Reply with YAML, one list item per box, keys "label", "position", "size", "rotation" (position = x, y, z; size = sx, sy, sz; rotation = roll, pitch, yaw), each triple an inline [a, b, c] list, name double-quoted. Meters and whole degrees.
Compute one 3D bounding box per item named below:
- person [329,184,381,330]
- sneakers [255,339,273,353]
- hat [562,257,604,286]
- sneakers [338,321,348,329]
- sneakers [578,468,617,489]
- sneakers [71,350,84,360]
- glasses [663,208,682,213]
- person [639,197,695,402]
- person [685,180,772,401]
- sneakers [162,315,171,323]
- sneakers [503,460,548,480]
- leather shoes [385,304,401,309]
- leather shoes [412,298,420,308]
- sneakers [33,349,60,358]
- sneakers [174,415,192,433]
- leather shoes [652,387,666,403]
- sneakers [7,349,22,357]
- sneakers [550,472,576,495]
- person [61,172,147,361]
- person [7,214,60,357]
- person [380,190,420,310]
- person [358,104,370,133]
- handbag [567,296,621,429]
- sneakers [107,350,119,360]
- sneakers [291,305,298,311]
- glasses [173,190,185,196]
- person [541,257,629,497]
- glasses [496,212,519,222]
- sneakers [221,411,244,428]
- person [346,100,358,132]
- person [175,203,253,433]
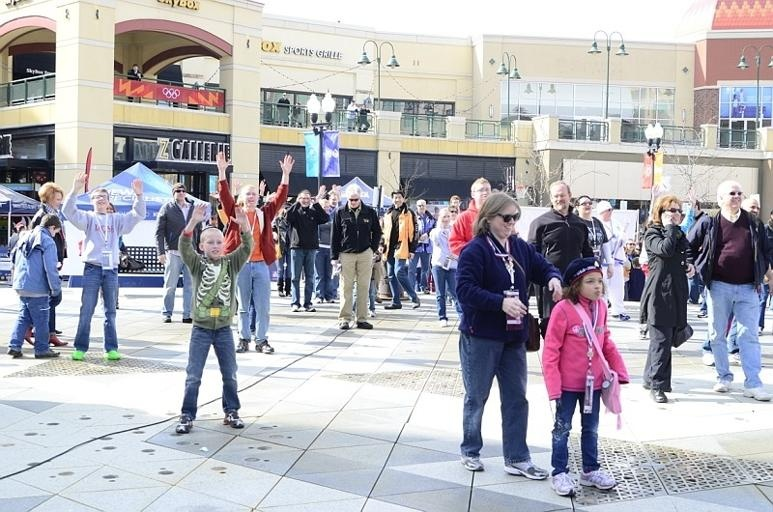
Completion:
- label: "person"
  position: [-0.600, 0.047, 14.029]
  size: [0.904, 2.647, 0.590]
  rotation: [0, 7, -8]
- label: "sneakers"
  position: [-1.930, 1.444, 11.881]
  size: [0.322, 0.157, 0.137]
  rotation: [-3, -3, 44]
- label: "hat"
  position: [1.902, 0.172, 7.588]
  size: [0.302, 0.141, 0.322]
  rotation: [-6, -16, -26]
- label: "sneakers"
  position: [-0.821, 1.282, 13.914]
  size: [0.113, 0.099, 0.245]
  rotation: [0, -6, -8]
- label: "sneakers"
  position: [2.059, 2.211, 7.361]
  size: [0.323, 0.152, 0.162]
  rotation: [1, 6, 13]
- label: "sneakers"
  position: [-4.611, 1.494, 11.182]
  size: [0.094, 0.119, 0.267]
  rotation: [-6, -24, -7]
- label: "glasses"
  position: [3.765, -0.604, 9.860]
  size: [0.240, 0.062, 0.114]
  rotation: [-2, 8, -20]
- label: "person"
  position: [3.656, 0.531, 9.822]
  size: [0.608, 2.612, 0.869]
  rotation: [3, 7, 16]
- label: "person"
  position: [4.575, 0.418, 10.036]
  size: [1.034, 2.795, 0.784]
  rotation: [4, 7, 23]
- label: "sneakers"
  position: [-4.294, 1.226, 14.576]
  size: [0.102, 0.112, 0.253]
  rotation: [2, -8, -19]
- label: "sneakers"
  position: [1.392, 2.137, 7.614]
  size: [0.440, 0.200, 0.167]
  rotation: [4, 7, 14]
- label: "leather shoes"
  position: [0.111, 1.164, 17.025]
  size: [0.385, 0.161, 0.139]
  rotation: [4, -1, -4]
- label: "leather shoes"
  position: [0.658, 1.106, 17.421]
  size: [0.129, 0.322, 0.096]
  rotation: [0, -7, -25]
- label: "sneakers"
  position: [-5.176, 1.473, 11.395]
  size: [0.335, 0.145, 0.120]
  rotation: [-1, 8, -22]
- label: "sneakers"
  position: [-2.276, 1.894, 8.451]
  size: [0.227, 0.174, 0.219]
  rotation: [-3, 8, -31]
- label: "leather shoes"
  position: [3.473, 1.799, 9.620]
  size: [0.207, 0.146, 0.125]
  rotation: [4, 7, 19]
- label: "sneakers"
  position: [-5.639, 1.479, 11.391]
  size: [0.196, 0.124, 0.256]
  rotation: [-3, 9, -28]
- label: "sneakers"
  position: [1.705, 2.222, 7.275]
  size: [0.234, 0.193, 0.169]
  rotation: [3, 7, 14]
- label: "person"
  position: [-4.274, 0.172, 11.343]
  size: [1.084, 2.756, 0.933]
  rotation: [-3, 7, -28]
- label: "person"
  position: [-5.431, 0.448, 11.513]
  size: [0.755, 2.142, 0.888]
  rotation: [-2, 7, -23]
- label: "person"
  position: [0.249, -0.127, 17.037]
  size: [0.817, 2.687, 0.896]
  rotation: [3, 7, 20]
- label: "person"
  position: [-1.167, -6.716, 36.993]
  size: [0.376, 1.235, 0.909]
  rotation: [6, 8, 38]
- label: "handbag"
  position: [2.154, 1.109, 7.588]
  size: [0.386, 1.407, 0.330]
  rotation: [-19, -1, -44]
- label: "sneakers"
  position: [-4.070, 1.480, 11.145]
  size: [0.190, 0.154, 0.113]
  rotation: [-2, 7, -22]
- label: "sneakers"
  position: [-2.018, 1.138, 16.240]
  size: [0.148, 0.157, 0.093]
  rotation: [-2, 6, -44]
- label: "glasses"
  position: [-3.989, -1.214, 14.373]
  size: [0.114, 0.124, 0.036]
  rotation: [-4, -2, -3]
- label: "person"
  position: [1.947, 1.172, 7.455]
  size: [0.770, 2.229, 0.618]
  rotation: [-1, 7, -16]
- label: "glasses"
  position: [1.258, -0.400, 7.654]
  size: [0.288, 0.079, 0.131]
  rotation: [-6, 10, -43]
- label: "sneakers"
  position: [-1.760, 1.881, 8.598]
  size: [0.236, 0.163, 0.199]
  rotation: [0, 7, -7]
- label: "person"
  position: [-1.716, -6.800, 36.707]
  size: [0.630, 1.273, 0.465]
  rotation: [-1, 7, -17]
- label: "person"
  position: [-2.013, 0.666, 8.761]
  size: [0.859, 2.524, 0.940]
  rotation: [-1, 7, -13]
